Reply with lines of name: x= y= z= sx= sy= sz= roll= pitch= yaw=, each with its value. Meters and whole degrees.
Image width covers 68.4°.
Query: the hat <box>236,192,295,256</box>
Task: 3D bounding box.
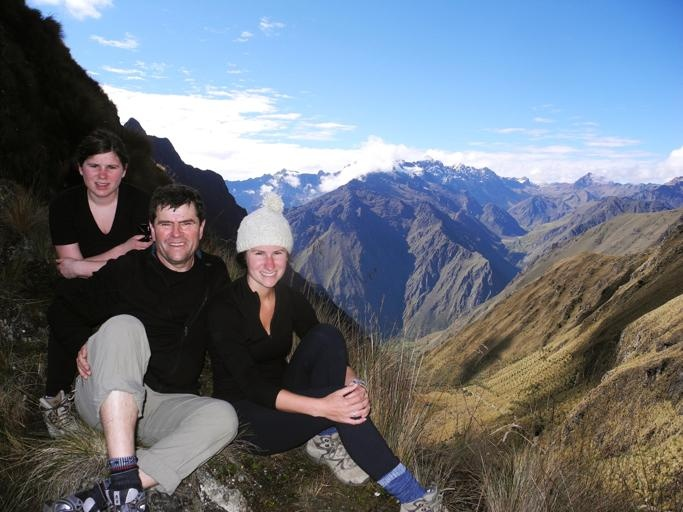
hat: x=-0.878 y=-0.352 z=5.888 sx=0.649 sy=0.699 sz=0.659 roll=10 pitch=23 yaw=-11
